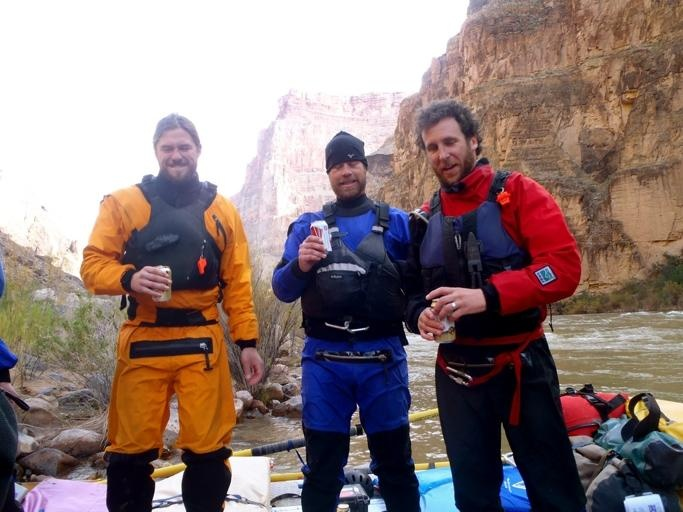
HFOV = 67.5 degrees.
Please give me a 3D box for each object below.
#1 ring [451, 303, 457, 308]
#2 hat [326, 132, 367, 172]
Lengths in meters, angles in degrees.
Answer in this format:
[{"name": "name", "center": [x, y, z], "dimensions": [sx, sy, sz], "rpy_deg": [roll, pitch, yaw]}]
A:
[{"name": "ring", "center": [0.706, 0.316, 3.201], "dimensions": [0.025, 0.031, 0.010], "rpy_deg": [0, -4, 3]}, {"name": "hat", "center": [0.026, -0.825, 4.075], "dimensions": [0.312, 0.294, 0.333], "rpy_deg": [-6, -13, -5]}]
